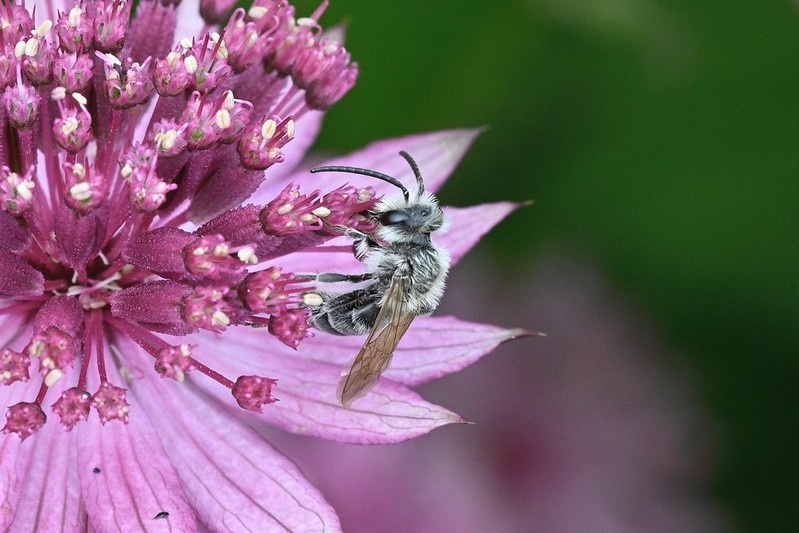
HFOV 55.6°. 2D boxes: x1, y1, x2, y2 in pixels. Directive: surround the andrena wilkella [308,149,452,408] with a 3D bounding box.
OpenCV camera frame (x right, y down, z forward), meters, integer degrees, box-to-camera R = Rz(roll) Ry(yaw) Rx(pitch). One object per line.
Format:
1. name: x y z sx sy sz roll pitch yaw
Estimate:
1. andrena wilkella: -0.017 0.027 1.340 0.120 0.398 0.288 -8 -25 38
